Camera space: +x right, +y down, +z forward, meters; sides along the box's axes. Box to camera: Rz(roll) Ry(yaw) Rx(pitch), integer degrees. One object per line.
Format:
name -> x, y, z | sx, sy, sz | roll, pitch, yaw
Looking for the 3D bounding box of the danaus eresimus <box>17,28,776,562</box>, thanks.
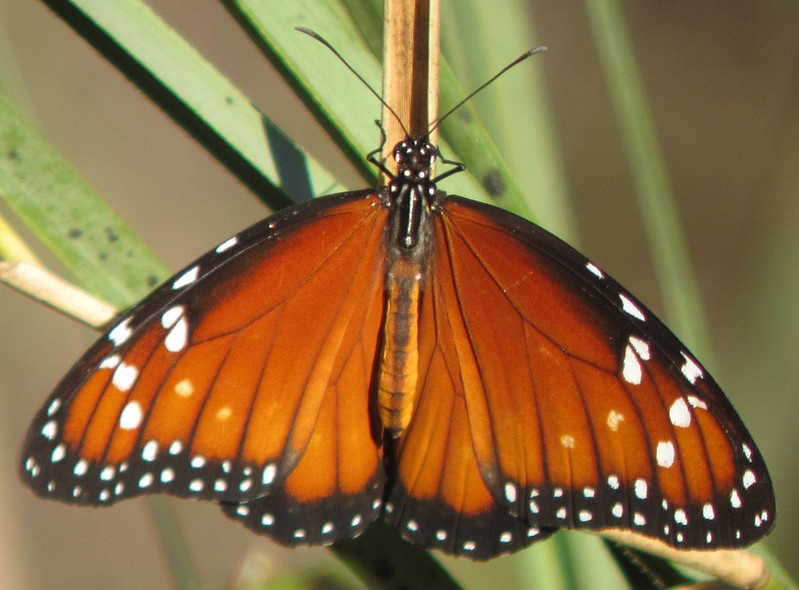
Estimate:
danaus eresimus -> 0.024, 0.009, 1.395 | 0.929, 0.750, 0.294 | 4, -4, 3
